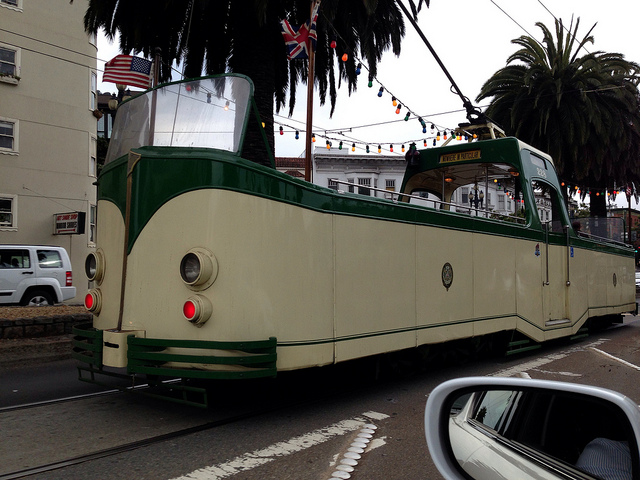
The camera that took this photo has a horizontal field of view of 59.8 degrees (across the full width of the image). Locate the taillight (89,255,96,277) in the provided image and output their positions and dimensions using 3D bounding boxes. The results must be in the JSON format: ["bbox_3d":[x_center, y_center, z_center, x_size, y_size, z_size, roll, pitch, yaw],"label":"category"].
[{"bbox_3d":[-3.153,0.349,7.741,0.045,0.237,0.196,2,15,-12],"label":"taillight"}]

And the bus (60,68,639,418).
[{"bbox_3d":[2.431,0.644,13.147,4.858,6.247,15.836,-7,-10,43],"label":"bus"}]

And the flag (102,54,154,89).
[{"bbox_3d":[-3.939,-3.488,11.492,0.963,0.805,0.797,1,1,-24],"label":"flag"}]

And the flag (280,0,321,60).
[{"bbox_3d":[-0.440,-4.375,11.933,0.658,1.136,1.556,1,1,-8],"label":"flag"}]

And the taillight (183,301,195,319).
[{"bbox_3d":[-1.604,0.849,6.859,0.161,0.193,0.040,27,16,34],"label":"taillight"}]

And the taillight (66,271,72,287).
[{"bbox_3d":[-8.401,1.260,18.630,0.120,0.494,0.170,2,2,40],"label":"taillight"}]

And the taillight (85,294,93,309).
[{"bbox_3d":[-3.185,0.830,7.687,0.037,0.175,0.156,4,19,-45],"label":"taillight"}]
